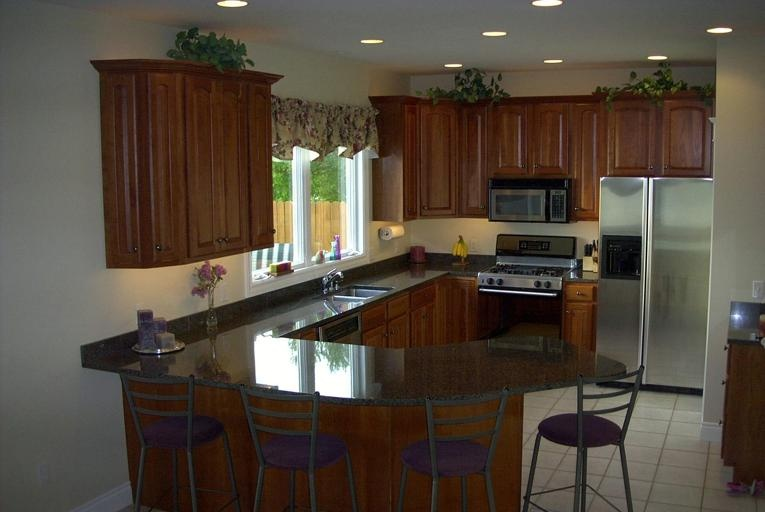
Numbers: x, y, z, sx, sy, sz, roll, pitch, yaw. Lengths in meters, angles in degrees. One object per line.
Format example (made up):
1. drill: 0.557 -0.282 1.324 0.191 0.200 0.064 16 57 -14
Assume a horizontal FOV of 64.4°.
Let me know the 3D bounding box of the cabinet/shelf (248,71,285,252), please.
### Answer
1. cabinet/shelf: -1.084 -0.799 5.038 0.381 1.387 0.442 -6 12 -32

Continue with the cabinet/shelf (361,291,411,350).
1. cabinet/shelf: 0.015 0.625 5.940 0.222 0.509 0.570 1 6 26

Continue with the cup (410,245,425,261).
1. cup: 0.450 -0.031 7.842 0.189 0.172 0.184 -1 8 0

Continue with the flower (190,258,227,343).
1. flower: -1.392 0.337 4.976 0.261 0.491 0.212 -4 -5 7

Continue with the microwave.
1. microwave: 1.795 -0.656 7.293 0.963 0.491 0.459 5 14 31

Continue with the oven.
1. oven: 1.795 0.912 7.732 1.011 0.661 0.705 0 -1 13

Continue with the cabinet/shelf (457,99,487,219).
1. cabinet/shelf: 1.086 -1.138 7.338 0.311 1.321 0.134 0 11 4

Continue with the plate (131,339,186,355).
1. plate: -1.640 0.677 4.467 0.370 0.052 0.220 -4 11 -20

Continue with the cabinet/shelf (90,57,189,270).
1. cabinet/shelf: -1.689 -0.637 4.289 0.568 1.414 0.275 0 11 4

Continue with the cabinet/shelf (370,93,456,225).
1. cabinet/shelf: 0.438 -1.152 7.530 0.569 1.449 1.029 -2 9 21

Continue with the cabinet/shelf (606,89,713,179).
1. cabinet/shelf: 2.902 -1.289 6.474 1.049 0.857 0.304 2 11 13

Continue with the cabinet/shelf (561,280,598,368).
1. cabinet/shelf: 2.256 0.682 6.912 0.437 0.858 0.455 0 10 11

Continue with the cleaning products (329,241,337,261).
1. cleaning products: -0.534 -0.056 6.616 0.066 0.188 0.096 -1 11 -2

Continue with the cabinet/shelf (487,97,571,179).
1. cabinet/shelf: 1.745 -1.405 7.104 0.981 0.900 0.471 1 3 18

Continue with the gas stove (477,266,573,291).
1. gas stove: 1.624 0.269 7.131 0.981 0.197 0.531 3 11 19
